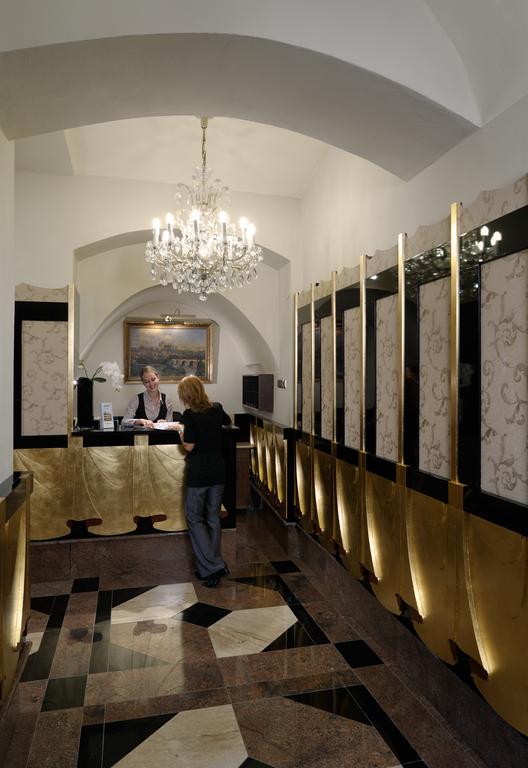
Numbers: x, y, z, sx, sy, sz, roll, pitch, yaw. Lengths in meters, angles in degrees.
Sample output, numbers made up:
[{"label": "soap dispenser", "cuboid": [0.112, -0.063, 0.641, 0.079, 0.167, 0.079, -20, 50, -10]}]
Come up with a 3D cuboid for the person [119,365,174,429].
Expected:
[{"label": "person", "cuboid": [-1.198, 0.131, 5.825, 0.460, 0.934, 0.541, 1, 1, -21]}]

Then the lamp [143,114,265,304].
[{"label": "lamp", "cuboid": [-0.517, -1.585, 5.018, 0.664, 1.800, 0.802, 0, 6, 7]}]

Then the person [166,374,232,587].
[{"label": "person", "cuboid": [-0.520, 0.815, 4.573, 0.256, 1.734, 0.458, -1, -2, 41]}]

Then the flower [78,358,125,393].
[{"label": "flower", "cuboid": [-2.483, -0.142, 8.406, 0.593, 0.614, 0.596, 6, 8, -9]}]

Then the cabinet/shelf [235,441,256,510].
[{"label": "cabinet/shelf", "cuboid": [-0.186, 1.323, 7.663, 0.417, 0.814, 0.433, 3, -10, -32]}]

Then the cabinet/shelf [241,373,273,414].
[{"label": "cabinet/shelf", "cuboid": [-0.093, 0.123, 7.562, 0.149, 0.520, 1.323, 0, -2, -13]}]

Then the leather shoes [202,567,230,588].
[{"label": "leather shoes", "cuboid": [-0.401, 1.635, 4.598, 0.249, 0.220, 0.102, 20, -19, -42]}]

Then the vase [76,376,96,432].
[{"label": "vase", "cuboid": [-1.737, 0.182, 5.299, 0.154, 0.486, 0.805, 1, -2, -19]}]
